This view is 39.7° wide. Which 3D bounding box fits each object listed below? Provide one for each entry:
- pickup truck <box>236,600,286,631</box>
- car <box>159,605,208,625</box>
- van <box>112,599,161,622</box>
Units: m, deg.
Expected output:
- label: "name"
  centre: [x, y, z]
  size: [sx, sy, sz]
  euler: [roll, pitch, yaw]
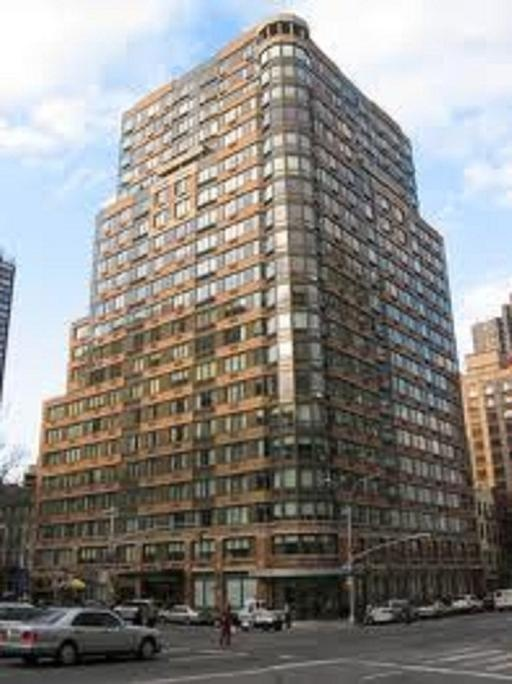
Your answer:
- label: "pickup truck"
  centre: [0.111, 16.517, 42.811]
  size: [1.645, 1.076, 2.386]
  euler: [9, -22, -24]
- label: "car"
  centre: [-5.252, 19.513, 50.616]
  size: [3.176, 0.924, 1.446]
  euler: [-13, -20, 34]
- label: "van"
  centre: [-8.112, 17.937, 47.657]
  size: [2.920, 1.234, 1.542]
  euler: [4, -37, 5]
